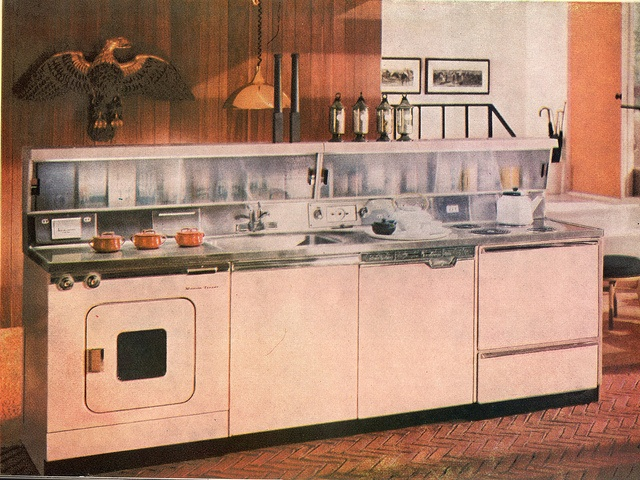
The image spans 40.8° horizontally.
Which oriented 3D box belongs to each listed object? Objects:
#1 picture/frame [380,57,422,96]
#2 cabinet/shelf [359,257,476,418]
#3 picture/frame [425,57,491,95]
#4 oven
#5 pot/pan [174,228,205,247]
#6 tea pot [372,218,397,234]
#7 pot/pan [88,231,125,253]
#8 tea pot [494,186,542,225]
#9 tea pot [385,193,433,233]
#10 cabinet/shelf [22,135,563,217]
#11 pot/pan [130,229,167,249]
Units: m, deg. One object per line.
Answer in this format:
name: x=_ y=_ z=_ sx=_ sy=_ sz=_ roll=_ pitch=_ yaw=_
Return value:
picture/frame: x=0.826 y=-1.684 z=8.871 sx=0.484 sy=0.377 sz=0.211 roll=-5 pitch=7 yaw=-12
cabinet/shelf: x=0.607 y=0.594 z=5.880 sx=1.065 sy=1.155 sz=0.899 roll=0 pitch=1 yaw=-13
picture/frame: x=1.501 y=-1.775 z=9.438 sx=0.883 sy=0.382 sz=0.035 roll=-6 pitch=13 yaw=-32
oven: x=-1.250 y=0.734 z=5.194 sx=1.217 sy=1.103 sz=0.692 roll=1 pitch=-3 yaw=-44
pot/pan: x=-0.808 y=-0.016 z=5.258 sx=0.107 sy=0.073 sz=0.134 roll=-1 pitch=-1 yaw=-26
tea pot: x=0.419 y=-0.086 z=5.570 sx=0.172 sy=0.094 sz=0.149 roll=-4 pitch=7 yaw=-5
pot/pan: x=-1.274 y=0.019 z=5.119 sx=0.166 sy=0.078 sz=0.115 roll=0 pitch=2 yaw=-15
tea pot: x=1.375 y=-0.234 z=6.052 sx=0.310 sy=0.210 sz=0.247 roll=-1 pitch=0 yaw=5
tea pot: x=0.586 y=-0.185 z=5.731 sx=0.295 sy=0.262 sz=0.269 roll=0 pitch=10 yaw=0
cabinet/shelf: x=-0.133 y=-0.442 z=5.654 sx=3.409 sy=0.501 sz=0.281 roll=-5 pitch=7 yaw=-14
pot/pan: x=-1.052 y=0.005 z=5.205 sx=0.180 sy=0.092 sz=0.113 roll=0 pitch=0 yaw=-20
